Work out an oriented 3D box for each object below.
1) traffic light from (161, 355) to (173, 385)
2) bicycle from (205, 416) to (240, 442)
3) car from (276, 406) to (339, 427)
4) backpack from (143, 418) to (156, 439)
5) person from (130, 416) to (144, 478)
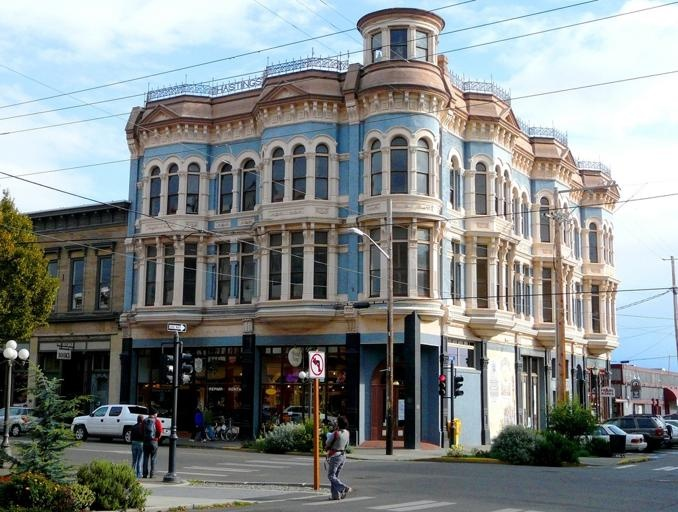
[{"bbox_3d":[-5.612,3.700,28.884,0.404,0.906,0.553,3,-16,-11],"label":"traffic light"},{"bbox_3d":[-6.151,9.248,46.886,1.321,0.773,1.311,0,-2,12],"label":"bicycle"},{"bbox_3d":[-1.725,8.319,45.128,2.599,0.976,1.159,-4,-8,17],"label":"car"},{"bbox_3d":[-6.353,5.809,29.603,0.385,0.749,0.469,2,-16,-9],"label":"backpack"},{"bbox_3d":[-6.745,6.377,29.487,0.411,2.093,1.113,3,-16,-12],"label":"person"}]
